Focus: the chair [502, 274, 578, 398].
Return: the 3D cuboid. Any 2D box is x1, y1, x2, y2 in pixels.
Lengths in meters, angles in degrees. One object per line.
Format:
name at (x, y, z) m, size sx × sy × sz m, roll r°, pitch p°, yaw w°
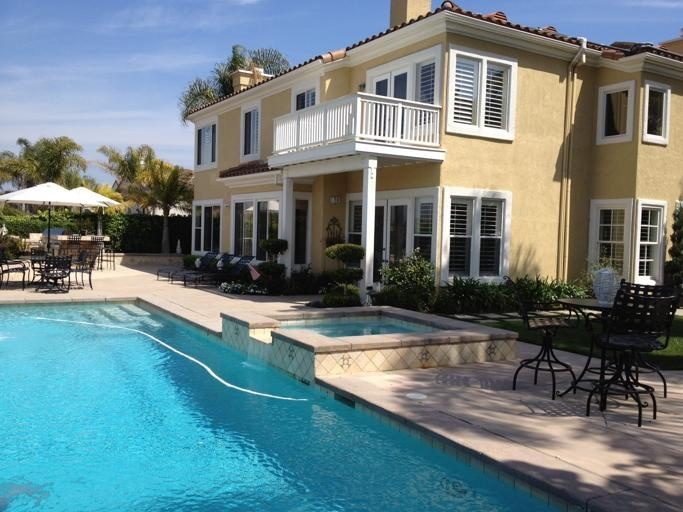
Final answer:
chair at (3.361, 1.406, 9.784) m, size 0.832 × 1.582 × 0.799 m, roll 2°, pitch -5°, yaw 30°
